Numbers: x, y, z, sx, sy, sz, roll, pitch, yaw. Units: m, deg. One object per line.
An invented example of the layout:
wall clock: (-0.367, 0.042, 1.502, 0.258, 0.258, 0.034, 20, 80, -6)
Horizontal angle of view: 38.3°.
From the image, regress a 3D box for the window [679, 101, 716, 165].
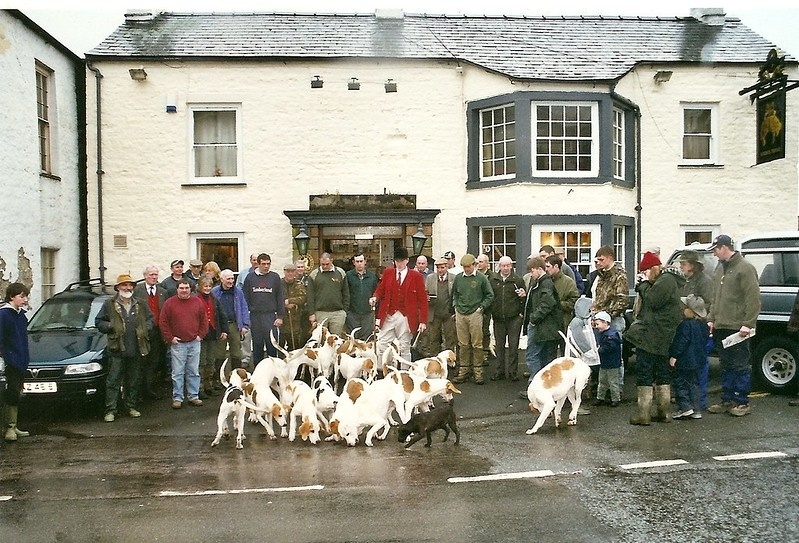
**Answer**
window: (7.432, -3.395, 28.667, 0.863, 1.513, 0.125, 0, 1, -3)

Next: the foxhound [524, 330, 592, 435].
foxhound: (2.908, 2.085, 20.977, 1.211, 1.710, 0.797, 0, -2, -38)

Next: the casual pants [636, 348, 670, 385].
casual pants: (4.647, 1.735, 20.985, 0.654, 0.899, 0.322, 2, -8, -15)

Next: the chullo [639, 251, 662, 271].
chullo: (4.638, -0.175, 21.128, 0.471, 0.373, 0.328, 1, -2, -42)

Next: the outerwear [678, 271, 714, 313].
outerwear: (5.789, 0.396, 22.258, 0.515, 0.838, 0.936, -2, 7, -22)

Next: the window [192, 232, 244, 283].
window: (-4.346, -0.370, 28.222, 1.319, 1.239, 0.109, 1, 18, 14)

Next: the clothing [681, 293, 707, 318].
clothing: (5.454, 0.604, 21.139, 0.414, 0.187, 0.426, 40, 37, 23)

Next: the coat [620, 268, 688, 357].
coat: (4.730, 0.769, 21.964, 1.396, 2.105, 1.598, 3, 1, 16)

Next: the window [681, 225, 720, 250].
window: (7.007, -0.791, 26.796, 0.774, 0.641, 0.063, -2, 18, -2)

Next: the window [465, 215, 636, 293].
window: (3.482, -0.115, 27.721, 4.693, 2.556, 0.234, 0, 21, -18)

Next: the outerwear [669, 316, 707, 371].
outerwear: (5.287, 1.313, 21.104, 0.983, 0.979, 0.554, 0, 5, -22)

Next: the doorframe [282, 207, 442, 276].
doorframe: (-0.888, -0.492, 27.959, 3.733, 1.763, 1.171, -1, -2, -4)
